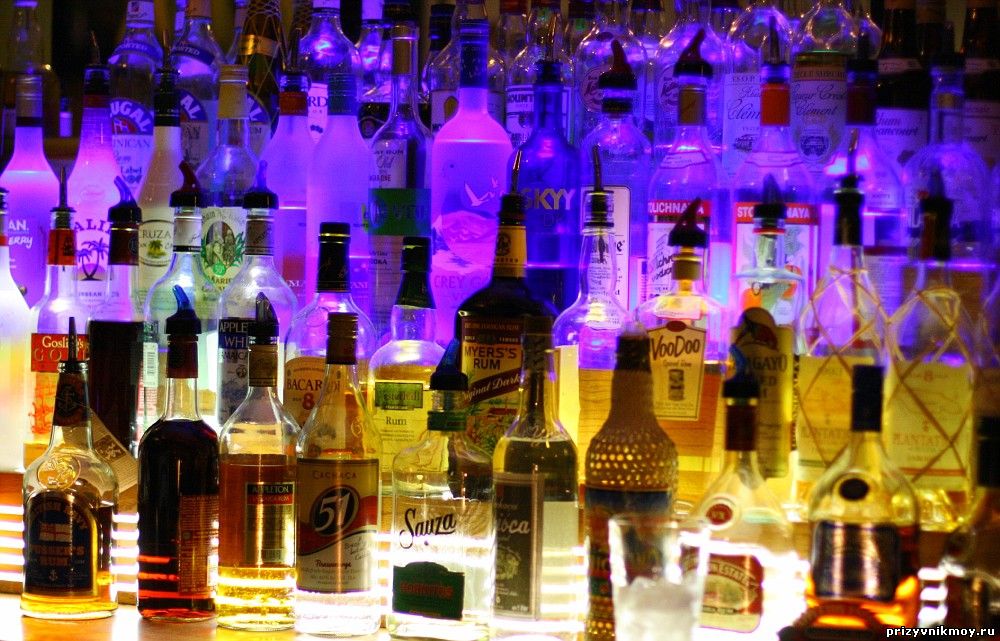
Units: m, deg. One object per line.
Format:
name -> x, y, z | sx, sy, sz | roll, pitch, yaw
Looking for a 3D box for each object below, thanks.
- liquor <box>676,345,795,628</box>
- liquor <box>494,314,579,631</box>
liquor -> 0.310, 0.216, 1.501 | 0.202, 0.235, 0.079 | 1, 1, -29
liquor -> 0.046, 0.203, 1.545 | 0.106, 0.417, 0.042 | 1, 1, -10
